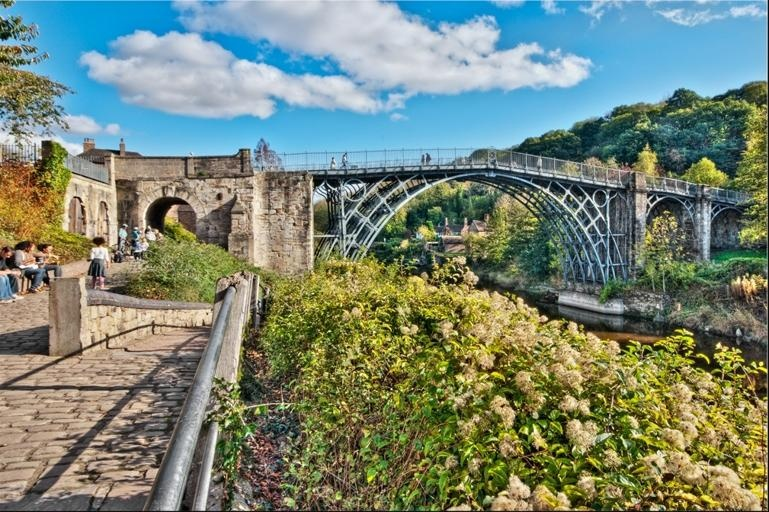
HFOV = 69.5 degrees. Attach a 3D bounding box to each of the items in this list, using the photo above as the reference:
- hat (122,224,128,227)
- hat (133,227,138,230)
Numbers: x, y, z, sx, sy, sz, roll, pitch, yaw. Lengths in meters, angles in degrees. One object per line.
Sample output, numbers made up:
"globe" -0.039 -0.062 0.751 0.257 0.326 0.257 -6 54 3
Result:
"hat" -9.467 -1.091 20.152 0.231 0.093 0.317 3 2 -11
"hat" -8.929 -0.991 19.869 0.161 0.086 0.224 9 -5 -41
